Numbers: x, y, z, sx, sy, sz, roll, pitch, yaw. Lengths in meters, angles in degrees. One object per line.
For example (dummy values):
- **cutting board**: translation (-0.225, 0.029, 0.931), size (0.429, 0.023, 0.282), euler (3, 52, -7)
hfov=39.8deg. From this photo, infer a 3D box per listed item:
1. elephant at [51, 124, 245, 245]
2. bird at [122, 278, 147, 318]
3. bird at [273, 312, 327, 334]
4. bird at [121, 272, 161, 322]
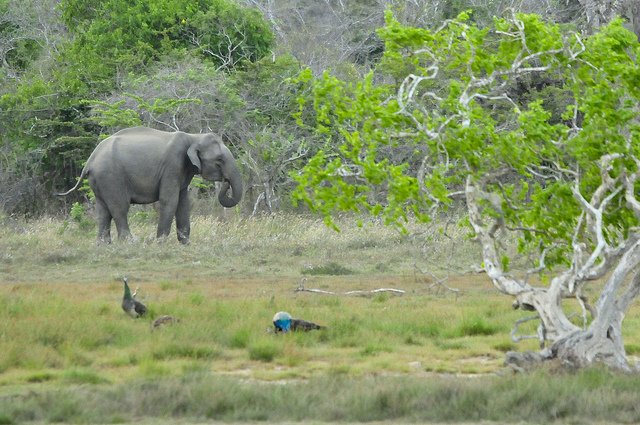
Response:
- **elephant**: translation (-5.045, -0.877, 27.165), size (6.160, 3.880, 2.584), euler (-2, -1, -10)
- **bird**: translation (-3.961, 1.836, 18.990), size (0.516, 0.919, 0.361), euler (-4, 11, -27)
- **bird**: translation (-0.419, 2.292, 18.433), size (0.942, 0.529, 0.340), euler (-12, 14, -16)
- **bird**: translation (-3.889, 1.815, 19.163), size (0.824, 0.976, 0.825), euler (-4, 11, -25)
